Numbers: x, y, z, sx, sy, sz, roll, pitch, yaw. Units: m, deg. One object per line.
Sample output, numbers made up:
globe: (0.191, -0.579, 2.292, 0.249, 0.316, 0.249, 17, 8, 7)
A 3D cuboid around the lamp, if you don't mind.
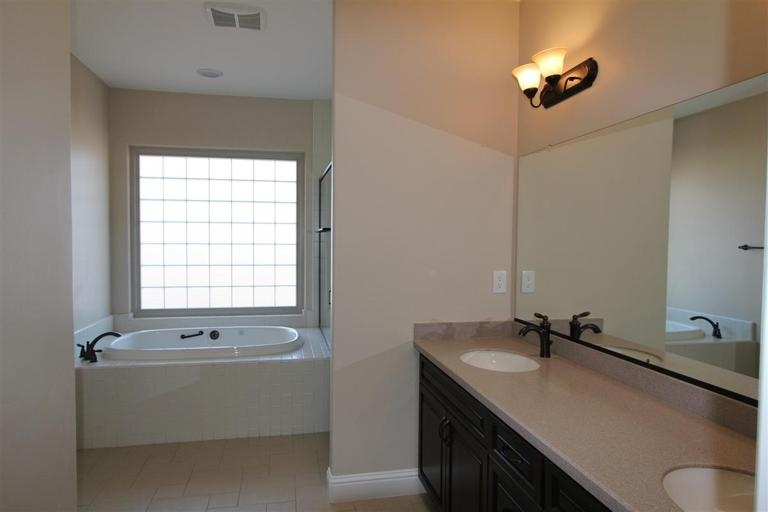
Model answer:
lamp: (0.876, -0.918, 2.901, 0.338, 0.175, 0.406, -4, -4, -7)
